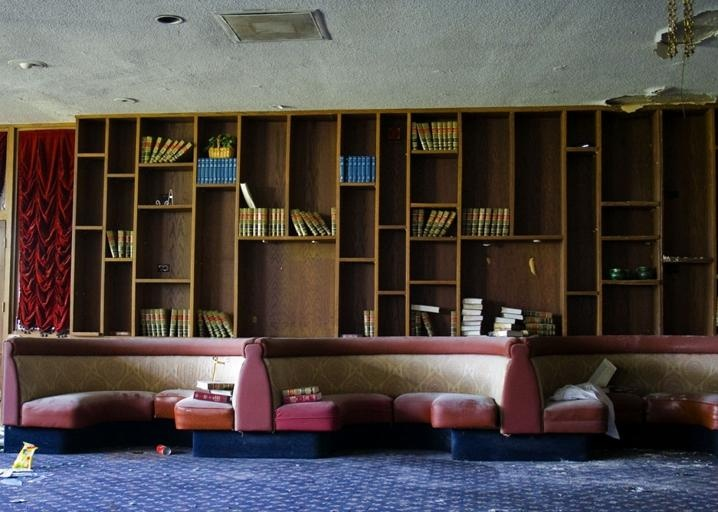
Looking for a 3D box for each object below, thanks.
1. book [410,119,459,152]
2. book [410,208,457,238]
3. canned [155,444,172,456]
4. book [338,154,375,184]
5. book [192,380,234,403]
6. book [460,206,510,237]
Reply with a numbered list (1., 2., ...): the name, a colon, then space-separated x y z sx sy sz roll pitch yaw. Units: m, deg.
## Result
1. book: 0.937 -1.430 8.030 0.738 0.327 0.649 0 7 8
2. book: 0.904 -0.392 8.048 0.534 0.342 0.189 -2 0 6
3. canned: -1.769 1.766 6.186 0.121 0.095 0.135 13 -1 -33
4. book: 0.012 -1.018 8.226 0.475 0.380 0.320 1 1 6
5. book: -1.326 1.252 6.265 0.417 0.180 0.331 -2 0 7
6. book: 1.512 -0.394 7.949 0.555 0.334 0.102 -2 0 5
